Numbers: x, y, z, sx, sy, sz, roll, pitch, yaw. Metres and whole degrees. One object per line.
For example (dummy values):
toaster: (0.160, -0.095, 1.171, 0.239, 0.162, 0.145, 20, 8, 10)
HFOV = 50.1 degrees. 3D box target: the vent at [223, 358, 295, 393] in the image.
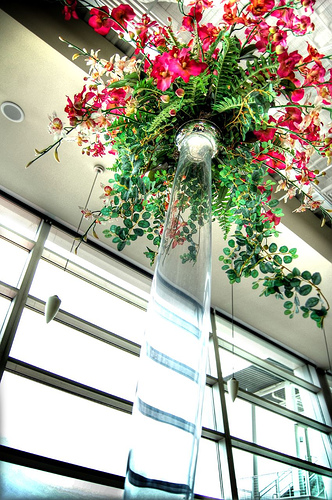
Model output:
vent: (1.325, 1.883, 5.195, 0.772, 0.170, 0.879, -33, -47, 21)
